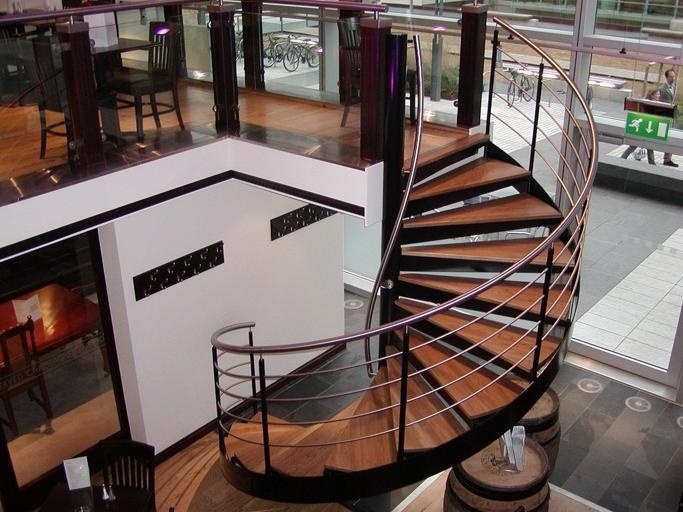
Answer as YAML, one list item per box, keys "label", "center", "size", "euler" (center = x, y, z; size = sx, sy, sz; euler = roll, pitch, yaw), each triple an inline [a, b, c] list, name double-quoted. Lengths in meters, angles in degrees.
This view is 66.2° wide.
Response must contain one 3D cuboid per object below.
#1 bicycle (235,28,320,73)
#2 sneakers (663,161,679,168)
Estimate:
- label: "bicycle"
  center: [-0.535, -2.019, 5.077]
  size: [0.924, 0.427, 0.365]
  euler: [25, 46, 25]
- label: "sneakers"
  center: [3.691, -1.029, 5.868]
  size: [0.147, 0.093, 0.055]
  euler: [4, 59, 26]
